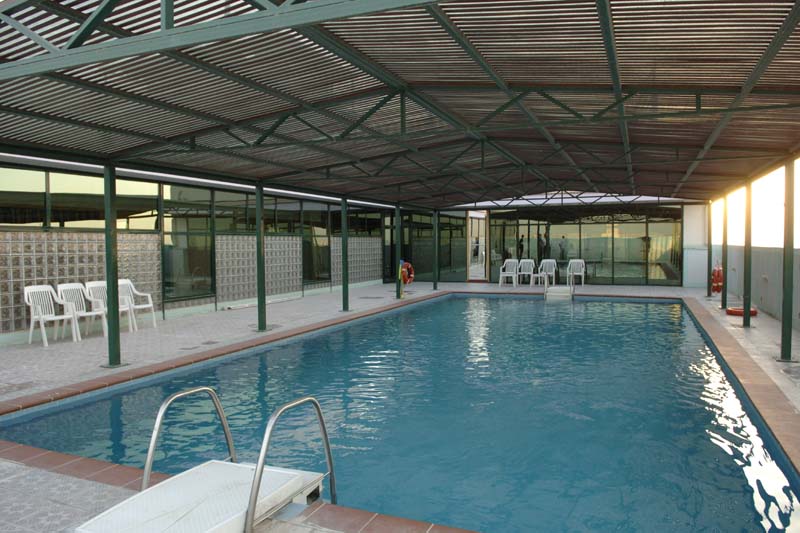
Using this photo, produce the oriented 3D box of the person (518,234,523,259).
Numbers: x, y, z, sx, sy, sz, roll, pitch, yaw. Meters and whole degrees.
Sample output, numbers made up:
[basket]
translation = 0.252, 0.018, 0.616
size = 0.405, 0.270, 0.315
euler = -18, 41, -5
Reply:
[person]
translation = 4.923, -0.837, 22.650
size = 0.299, 1.002, 0.154
euler = -2, 5, 18
